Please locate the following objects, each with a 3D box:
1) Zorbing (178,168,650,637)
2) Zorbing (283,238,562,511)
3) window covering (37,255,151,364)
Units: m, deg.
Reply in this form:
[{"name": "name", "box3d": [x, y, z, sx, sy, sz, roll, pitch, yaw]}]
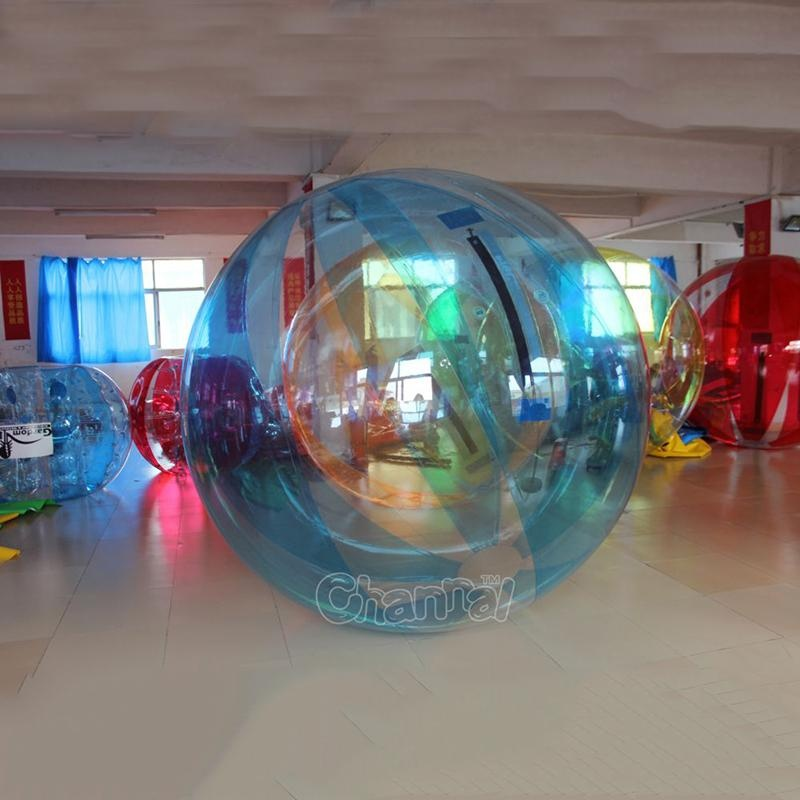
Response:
[{"name": "Zorbing", "box3d": [0.055, 0.011, 1.493, 0.863, 0.938, 0.835, -2, -3, 44]}, {"name": "Zorbing", "box3d": [0.066, -0.025, 1.337, 0.464, 0.536, 0.477, 4, 9, 32]}, {"name": "window covering", "box3d": [-4.121, -1.213, 8.953, 1.448, 1.459, 0.354, -1, 5, 8]}]
